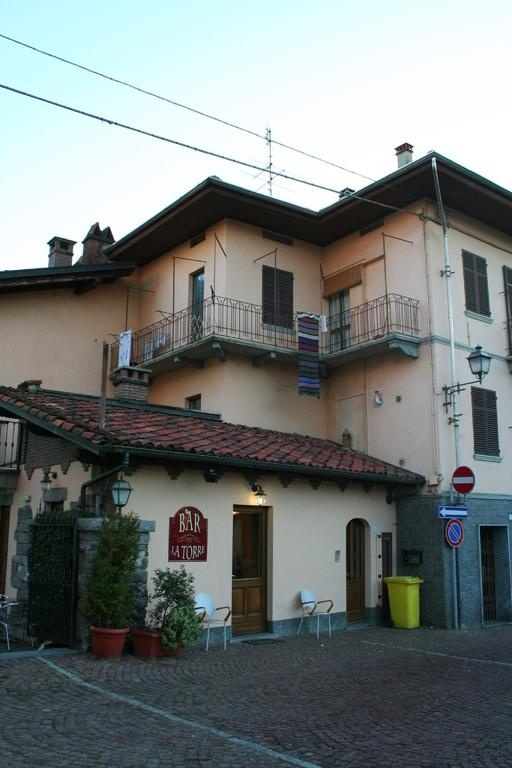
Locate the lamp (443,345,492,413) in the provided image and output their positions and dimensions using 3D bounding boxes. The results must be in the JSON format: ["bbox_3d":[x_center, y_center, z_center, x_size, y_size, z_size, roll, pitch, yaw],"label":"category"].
[{"bbox_3d":[4.138,-0.101,13.078,0.965,1.307,0.416,-13,-20,36],"label":"lamp"}]

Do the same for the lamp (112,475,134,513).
[{"bbox_3d":[-1.871,1.503,9.157,0.257,0.542,0.665,3,-15,-10],"label":"lamp"}]

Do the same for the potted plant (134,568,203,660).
[{"bbox_3d":[-1.153,3.063,9.053,1.014,1.097,0.682,-8,-29,18],"label":"potted plant"}]

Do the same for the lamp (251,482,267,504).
[{"bbox_3d":[0.028,1.896,11.449,0.113,0.366,0.406,-7,-16,27],"label":"lamp"}]

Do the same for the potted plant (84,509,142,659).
[{"bbox_3d":[-1.861,2.564,8.524,0.650,1.810,0.569,4,-15,-14],"label":"potted plant"}]

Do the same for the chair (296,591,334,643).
[{"bbox_3d":[1.058,4.100,11.840,0.573,0.717,0.543,10,-17,-28],"label":"chair"}]

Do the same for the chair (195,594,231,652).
[{"bbox_3d":[-0.689,3.529,9.896,0.483,0.656,0.473,13,-18,-32],"label":"chair"}]

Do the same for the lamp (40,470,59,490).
[{"bbox_3d":[-3.507,1.606,11.129,0.124,0.364,0.605,10,-17,-33],"label":"lamp"}]

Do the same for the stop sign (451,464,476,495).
[{"bbox_3d":[3.992,1.864,12.847,0.118,0.727,0.626,6,-8,-26],"label":"stop sign"}]

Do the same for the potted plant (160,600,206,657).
[{"bbox_3d":[-0.990,3.185,8.775,0.624,0.698,0.648,-9,-16,38],"label":"potted plant"}]
